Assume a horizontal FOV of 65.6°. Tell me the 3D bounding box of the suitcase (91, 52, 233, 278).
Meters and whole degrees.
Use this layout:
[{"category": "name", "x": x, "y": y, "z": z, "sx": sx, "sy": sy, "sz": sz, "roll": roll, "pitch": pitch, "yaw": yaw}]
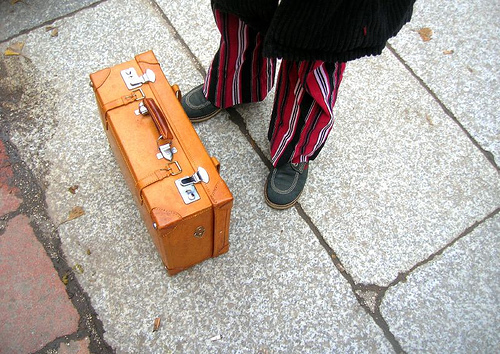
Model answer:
[{"category": "suitcase", "x": -0.478, "y": -0.018, "z": 2.046, "sx": 0.454, "sy": 0.809, "sz": 1.185, "roll": -23, "pitch": 70, "yaw": -10}]
